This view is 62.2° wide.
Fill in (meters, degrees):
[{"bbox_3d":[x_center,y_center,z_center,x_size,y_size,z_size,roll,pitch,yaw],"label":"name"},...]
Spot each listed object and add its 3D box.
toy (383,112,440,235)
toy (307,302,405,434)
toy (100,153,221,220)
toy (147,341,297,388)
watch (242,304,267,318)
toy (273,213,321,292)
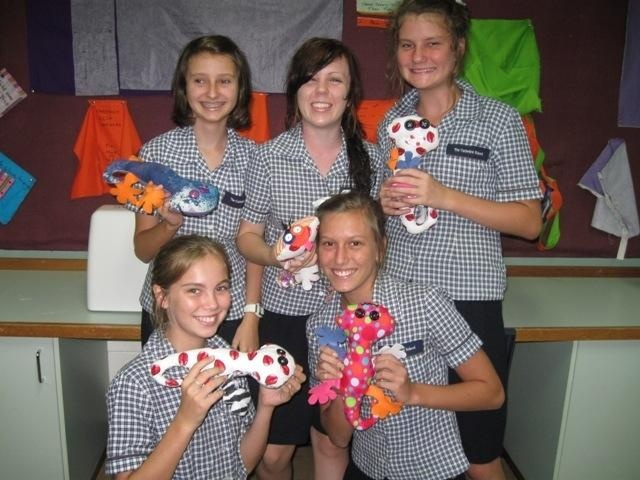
[{"bbox_3d":[0.331,-0.253,2.021,0.228,0.404,0.143,-11,2,-16],"label":"toy"},{"bbox_3d":[0.126,0.410,1.752,0.352,0.423,0.141,2,0,16],"label":"toy"},{"bbox_3d":[-0.605,-0.185,1.940,0.377,0.205,0.101,8,-34,4],"label":"toy"},{"bbox_3d":[-0.331,0.432,1.725,0.432,0.131,0.181,4,38,-13],"label":"toy"},{"bbox_3d":[-0.258,0.271,2.059,0.066,0.035,0.048,5,18,9],"label":"watch"},{"bbox_3d":[-0.090,0.062,1.927,0.163,0.271,0.062,3,29,-26],"label":"toy"}]
